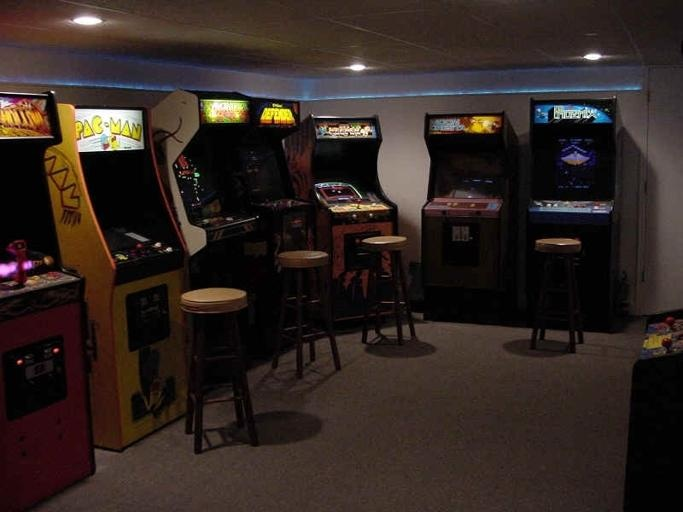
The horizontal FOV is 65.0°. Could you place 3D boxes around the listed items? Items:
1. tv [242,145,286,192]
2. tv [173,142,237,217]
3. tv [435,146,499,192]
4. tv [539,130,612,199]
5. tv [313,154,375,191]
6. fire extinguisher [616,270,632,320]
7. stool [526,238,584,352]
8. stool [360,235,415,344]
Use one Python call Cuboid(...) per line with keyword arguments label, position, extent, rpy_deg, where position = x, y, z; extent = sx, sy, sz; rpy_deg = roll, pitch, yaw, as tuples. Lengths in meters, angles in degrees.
Cuboid(label="tv", position=(-0.804, -0.901, 5.475), extent=(0.063, 0.480, 0.533), rpy_deg=(-15, -8, 36))
Cuboid(label="tv", position=(-1.393, -0.651, 5.121), extent=(0.417, 0.674, 0.408), rpy_deg=(2, -11, -11))
Cuboid(label="tv", position=(1.531, -0.926, 6.543), extent=(0.860, 0.787, 0.457), rpy_deg=(1, 1, 21))
Cuboid(label="tv", position=(2.639, -1.038, 5.977), extent=(0.752, 0.715, 0.370), rpy_deg=(1, 1, 15))
Cuboid(label="tv", position=(0.056, -0.982, 6.398), extent=(0.752, 0.424, 0.139), rpy_deg=(-3, 12, -8))
Cuboid(label="fire extinguisher", position=(3.397, 0.445, 6.435), extent=(0.164, 0.542, 0.086), rpy_deg=(2, 12, 16))
Cuboid(label="stool", position=(2.286, 0.354, 5.625), extent=(0.542, 1.123, 0.919), rpy_deg=(3, 13, 19))
Cuboid(label="stool", position=(0.543, 0.307, 5.967), extent=(0.602, 1.151, 1.079), rpy_deg=(1, 12, 8))
